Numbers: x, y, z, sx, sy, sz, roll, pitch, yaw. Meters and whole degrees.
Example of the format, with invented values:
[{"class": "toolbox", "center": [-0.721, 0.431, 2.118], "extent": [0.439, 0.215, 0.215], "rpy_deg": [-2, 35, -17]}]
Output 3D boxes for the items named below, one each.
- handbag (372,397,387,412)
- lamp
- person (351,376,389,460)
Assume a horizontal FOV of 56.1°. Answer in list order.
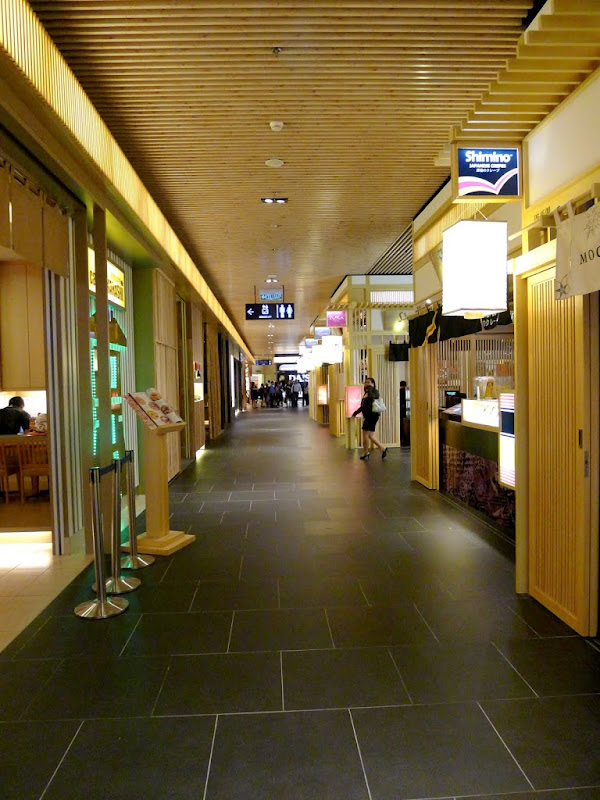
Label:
[{"class": "handbag", "center": [1.286, 0.073, 9.290], "extent": [0.214, 0.240, 0.106], "rpy_deg": [1, -10, -11]}, {"class": "lamp", "center": [1.107, -0.809, 3.568], "extent": [0.342, 0.598, 0.367], "rpy_deg": [3, -1, 2]}, {"class": "person", "center": [1.180, 0.280, 9.737], "extent": [0.585, 1.349, 1.281], "rpy_deg": [-1, 2, 5]}]
